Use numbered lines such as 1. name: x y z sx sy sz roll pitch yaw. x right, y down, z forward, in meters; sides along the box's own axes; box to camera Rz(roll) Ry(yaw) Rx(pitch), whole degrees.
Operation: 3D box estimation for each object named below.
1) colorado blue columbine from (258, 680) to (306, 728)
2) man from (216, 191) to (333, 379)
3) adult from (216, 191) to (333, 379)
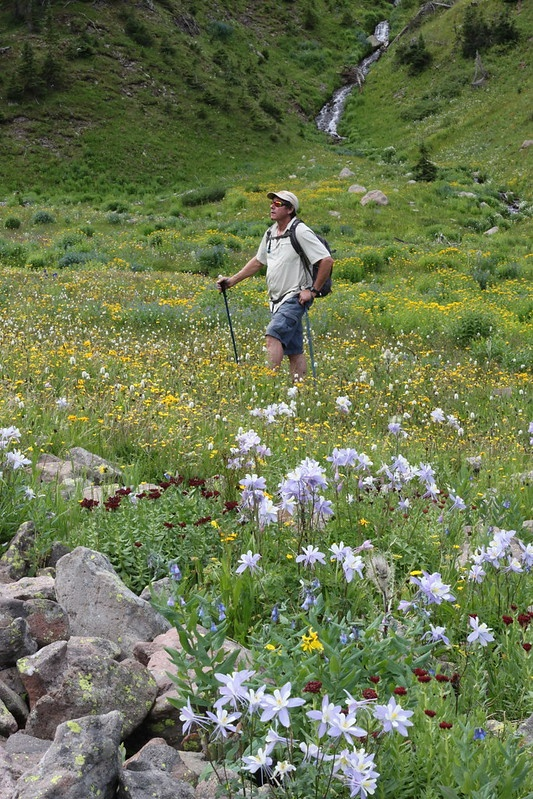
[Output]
1. colorado blue columbine: 0.031 0.770 2.103 0.098 0.138 0.140 -2 12 -9
2. man: 0.179 -1.248 9.177 1.056 2.057 1.046 1 11 3
3. adult: 0.191 -1.247 9.171 1.041 2.057 1.044 0 11 1
